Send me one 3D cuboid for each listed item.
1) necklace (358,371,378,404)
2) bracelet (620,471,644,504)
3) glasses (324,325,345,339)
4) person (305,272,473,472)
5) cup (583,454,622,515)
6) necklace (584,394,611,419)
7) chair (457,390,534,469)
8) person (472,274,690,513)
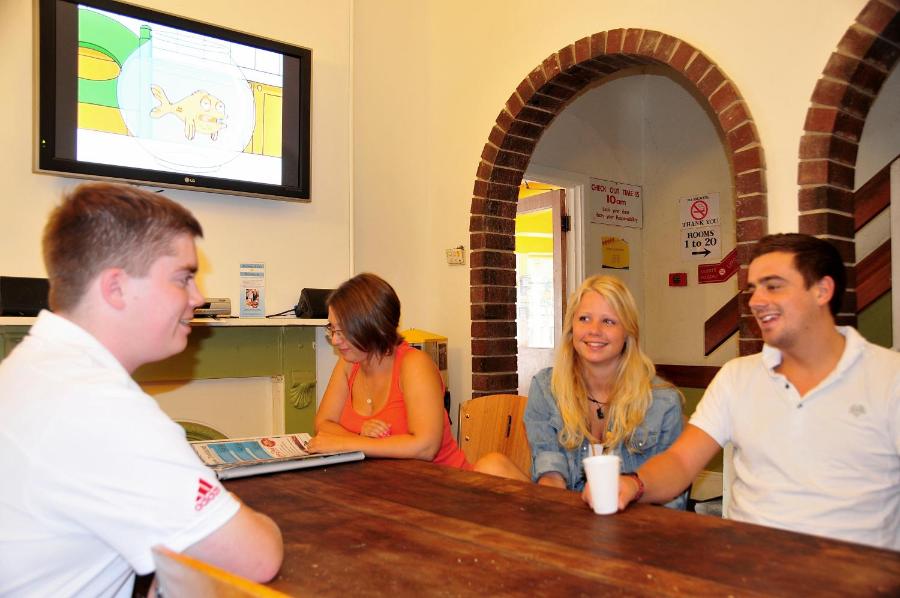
[{"bbox_3d":[-0.360,0.381,2.679,0.026,0.119,0.118,8,30,-44],"label":"necklace"},{"bbox_3d":[0.535,0.561,1.841,0.037,0.071,0.096,4,3,16],"label":"bracelet"},{"bbox_3d":[-0.488,0.136,2.582,0.073,0.023,0.069,3,2,-24],"label":"glasses"},{"bbox_3d":[-0.300,0.335,2.507,0.682,0.845,0.629,1,7,10],"label":"person"},{"bbox_3d":[0.459,0.513,1.710,0.147,0.151,0.147,2,-17,1],"label":"cup"},{"bbox_3d":[0.578,0.422,2.465,0.023,0.074,0.075,-31,-39,23],"label":"necklace"},{"bbox_3d":[0.237,0.633,3.036,0.305,0.540,0.360,-3,-6,-2],"label":"chair"},{"bbox_3d":[0.532,0.414,2.350,0.652,0.913,0.854,3,7,32],"label":"person"}]
